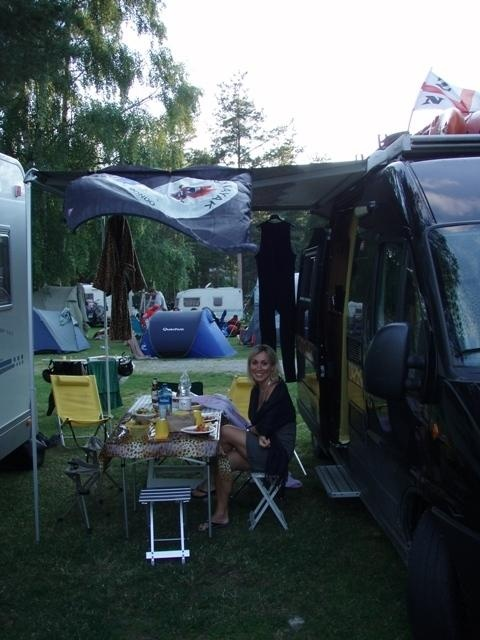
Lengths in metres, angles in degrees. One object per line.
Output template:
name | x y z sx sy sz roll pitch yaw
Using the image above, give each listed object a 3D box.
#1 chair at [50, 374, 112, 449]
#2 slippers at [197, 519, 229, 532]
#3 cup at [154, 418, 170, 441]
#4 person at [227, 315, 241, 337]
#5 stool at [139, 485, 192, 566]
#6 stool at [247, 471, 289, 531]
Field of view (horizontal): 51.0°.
chair | -1.871 1.037 5.874 0.562 0.837 0.864 3 -10 -34
slippers | -0.222 1.651 4.041 0.255 0.072 0.101 5 -4 -23
cup | -0.593 0.822 3.801 0.105 0.153 0.175 -1 0 -10
person | -0.249 0.245 21.039 0.316 0.775 0.536 17 -5 -15
stool | -0.510 1.405 3.612 0.221 0.285 0.409 10 -7 7
stool | 0.226 1.493 4.334 0.421 0.589 0.383 1 0 0
